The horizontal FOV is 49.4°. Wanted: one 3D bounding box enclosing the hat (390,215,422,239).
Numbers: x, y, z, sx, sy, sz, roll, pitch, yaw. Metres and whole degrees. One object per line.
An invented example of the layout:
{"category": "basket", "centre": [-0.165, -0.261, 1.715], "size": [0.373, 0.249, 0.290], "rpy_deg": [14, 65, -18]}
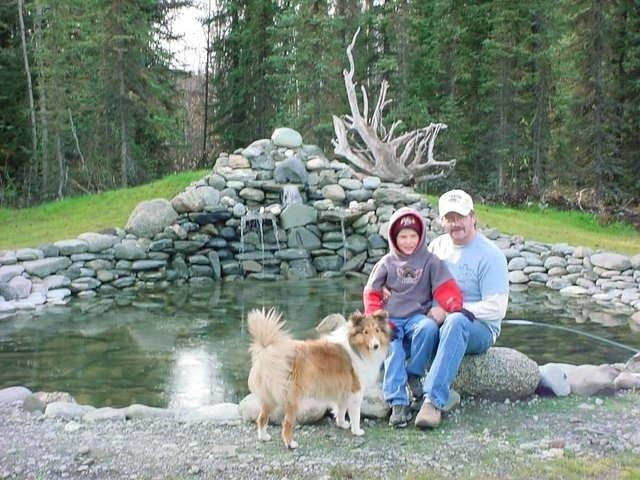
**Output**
{"category": "hat", "centre": [1.616, -0.269, 13.121], "size": [0.340, 0.444, 0.510], "rpy_deg": [-2, -14, 0]}
